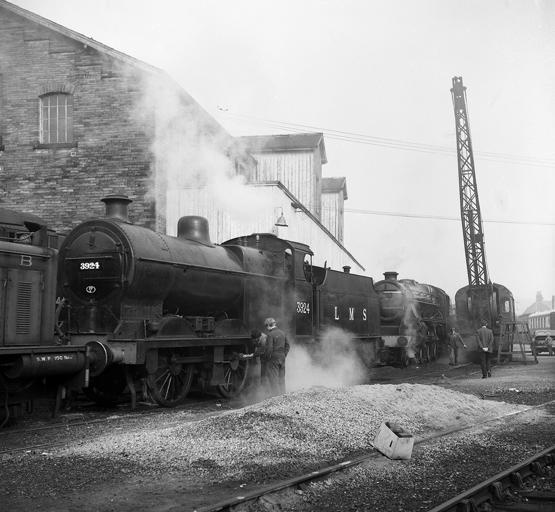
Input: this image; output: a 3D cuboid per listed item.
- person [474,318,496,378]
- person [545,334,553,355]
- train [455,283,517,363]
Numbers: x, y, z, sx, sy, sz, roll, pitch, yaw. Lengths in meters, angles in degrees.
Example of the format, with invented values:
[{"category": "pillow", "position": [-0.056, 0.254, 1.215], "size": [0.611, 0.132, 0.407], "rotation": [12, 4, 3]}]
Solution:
[{"category": "person", "position": [6.045, 2.764, 16.493], "size": [0.411, 1.468, 1.747], "rotation": [-2, -6, 20]}, {"category": "person", "position": [14.645, 4.756, 30.610], "size": [0.374, 1.140, 1.036], "rotation": [-3, -6, 26]}, {"category": "train", "position": [10.087, 3.215, 27.824], "size": [2.408, 3.417, 4.812], "rotation": [-6, -10, 21]}]
